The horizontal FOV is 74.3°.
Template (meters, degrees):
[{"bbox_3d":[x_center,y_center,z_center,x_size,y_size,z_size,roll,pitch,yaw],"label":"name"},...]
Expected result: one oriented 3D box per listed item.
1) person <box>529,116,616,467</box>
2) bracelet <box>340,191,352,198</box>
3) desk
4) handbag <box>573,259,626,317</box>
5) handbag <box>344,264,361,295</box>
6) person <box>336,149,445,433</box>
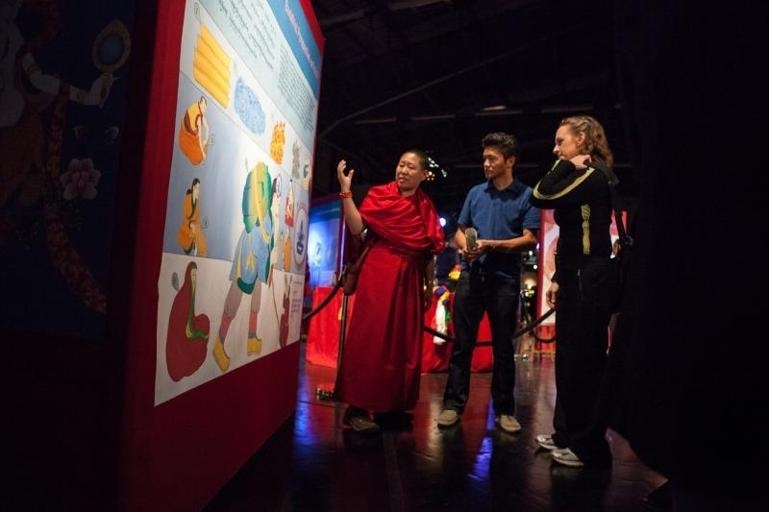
[{"bbox_3d":[0.919,0.146,2.512,0.381,1.801,0.573,1,-5,24],"label":"person"},{"bbox_3d":[-0.243,-0.367,3.049,0.049,0.031,0.045,2,7,26],"label":"bracelet"},{"bbox_3d":[0.025,0.772,6.508,1.623,0.829,1.609,3,-12,-37],"label":"desk"},{"bbox_3d":[0.985,0.153,2.330,0.207,0.311,0.176,1,-21,20],"label":"handbag"},{"bbox_3d":[-0.194,0.151,3.208,0.093,0.181,0.042,3,-12,45],"label":"handbag"},{"bbox_3d":[0.019,0.166,3.143,0.674,1.739,0.393,3,-4,-6],"label":"person"}]
